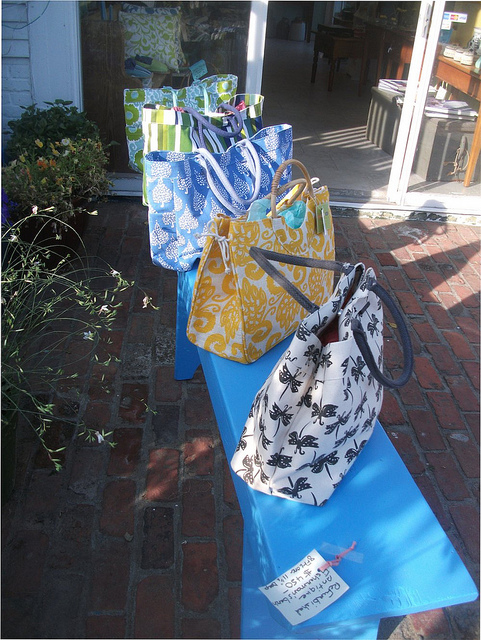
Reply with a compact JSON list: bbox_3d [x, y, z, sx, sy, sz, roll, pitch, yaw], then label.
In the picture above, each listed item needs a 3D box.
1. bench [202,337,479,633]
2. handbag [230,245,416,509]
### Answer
[{"bbox_3d":[0.141,0.557,1.117,0.349,0.724,0.573,-2,33,-10],"label":"bench"},{"bbox_3d":[0.153,0.129,0.958,0.303,0.308,0.468,21,22,25],"label":"handbag"}]
